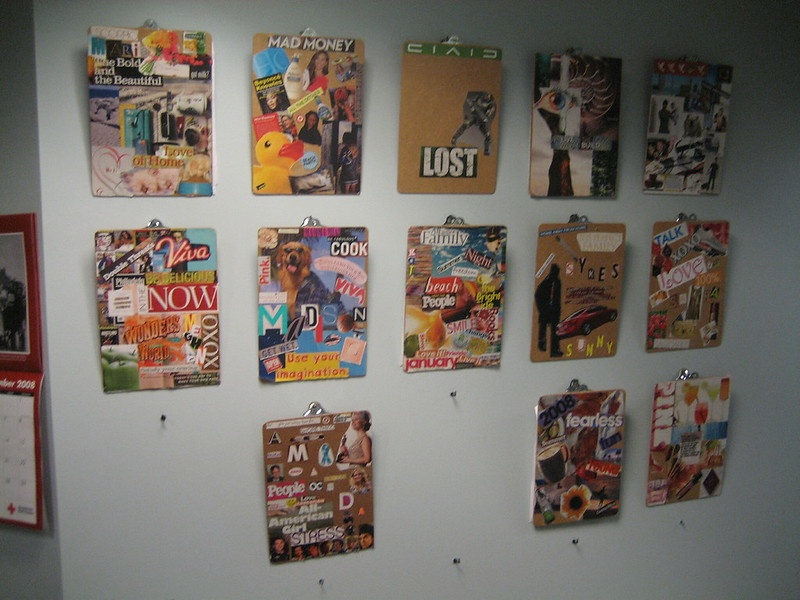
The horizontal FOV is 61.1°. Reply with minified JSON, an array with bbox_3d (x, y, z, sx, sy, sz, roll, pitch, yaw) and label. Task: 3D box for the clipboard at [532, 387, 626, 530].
[{"bbox_3d":[0.557,0.493,2.168,0.434,0.601,0.062,-1,6,-22],"label":"clipboard"}]
